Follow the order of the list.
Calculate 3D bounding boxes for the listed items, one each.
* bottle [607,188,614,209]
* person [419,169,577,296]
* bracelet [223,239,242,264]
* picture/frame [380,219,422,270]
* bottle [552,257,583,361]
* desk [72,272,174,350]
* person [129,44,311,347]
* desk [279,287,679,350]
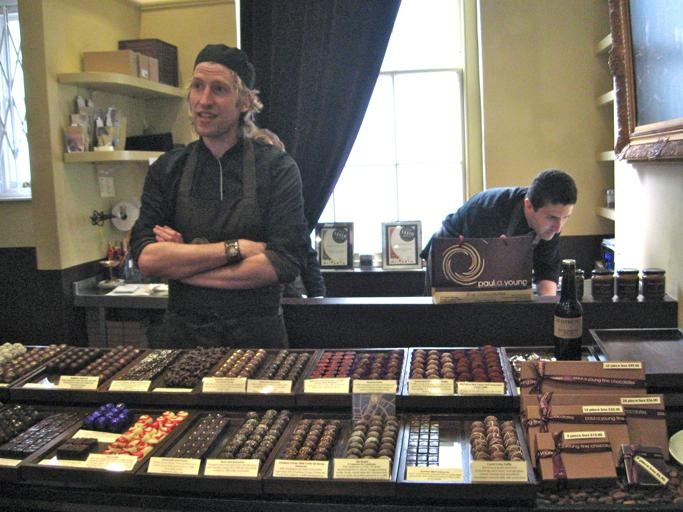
[{"bbox_3d":[1.977,-0.415,4.041,0.035,0.126,0.092,1,9,10],"label":"bottle"},{"bbox_3d":[1.034,-0.137,3.238,0.407,0.718,0.801,-8,11,-36],"label":"person"},{"bbox_3d":[-0.425,-0.013,2.248,0.064,0.087,0.096,-4,-24,-7],"label":"bracelet"},{"bbox_3d":[0.485,-0.081,4.384,0.419,0.473,0.052,0,-2,-1],"label":"picture/frame"},{"bbox_3d":[0.775,0.193,1.869,0.090,0.366,0.218,3,10,23],"label":"bottle"},{"bbox_3d":[-1.463,0.360,3.621,0.660,0.588,0.343,0,1,-3],"label":"desk"},{"bbox_3d":[-0.514,-0.234,2.286,0.712,1.263,0.376,-3,10,-16],"label":"person"},{"bbox_3d":[0.685,0.309,2.624,1.900,0.255,0.384,1,5,12],"label":"desk"}]
